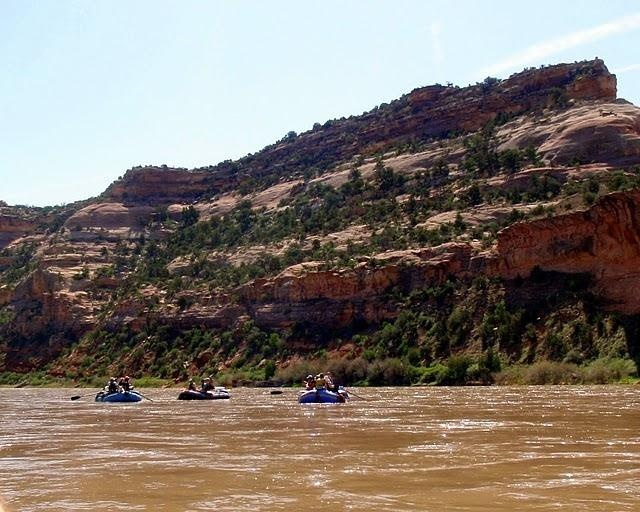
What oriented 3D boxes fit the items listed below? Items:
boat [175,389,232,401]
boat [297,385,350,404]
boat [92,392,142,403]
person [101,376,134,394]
[{"bbox_3d":[-6.326,7.556,47.170,1.836,0.429,1.059,1,-9,7],"label":"boat"},{"bbox_3d":[0.179,6.805,42.263,2.397,0.633,1.631,-2,1,-3],"label":"boat"},{"bbox_3d":[-10.669,7.542,46.632,2.676,0.405,1.276,-2,1,18],"label":"boat"},{"bbox_3d":[-10.941,7.078,47.728,1.931,0.634,1.351,-1,2,36],"label":"person"}]
